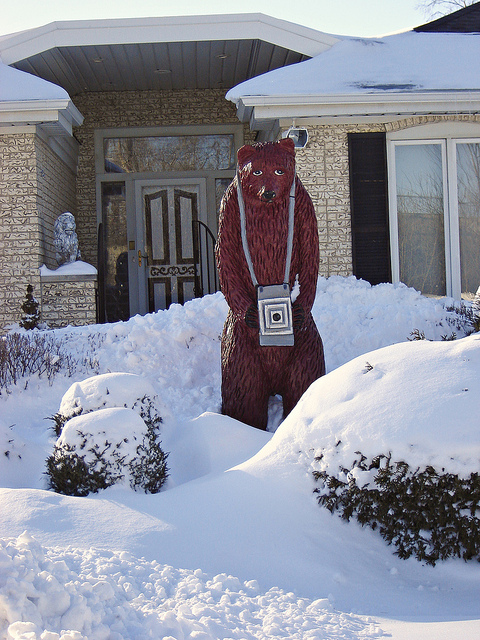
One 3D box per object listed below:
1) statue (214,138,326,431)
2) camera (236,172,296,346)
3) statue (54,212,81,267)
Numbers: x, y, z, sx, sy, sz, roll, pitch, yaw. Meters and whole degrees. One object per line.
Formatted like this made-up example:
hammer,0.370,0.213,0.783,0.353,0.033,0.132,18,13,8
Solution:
statue,0.161,-0.102,5.849,0.660,2.012,0.705,-1,5,24
camera,0.164,-0.452,5.653,0.293,1.158,0.281,-4,9,-11
statue,-1.991,-0.936,10.602,0.287,0.661,0.478,0,13,-13
